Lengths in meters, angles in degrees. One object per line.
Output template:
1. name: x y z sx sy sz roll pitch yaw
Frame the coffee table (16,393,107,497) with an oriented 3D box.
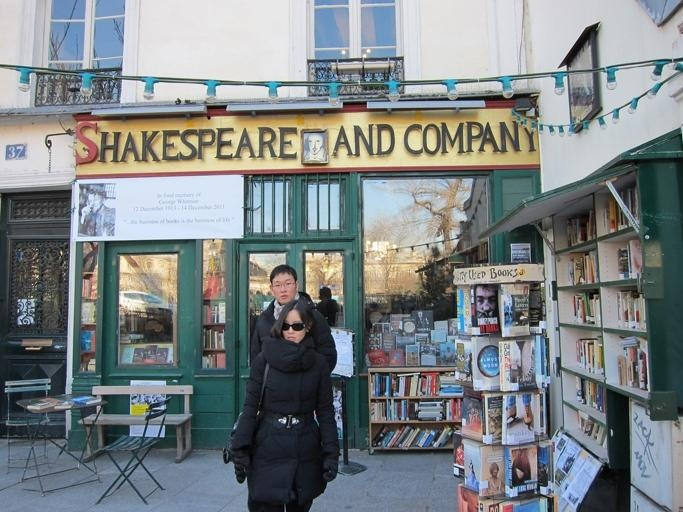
1. coffee table: -3.585 2.268 8.775 0.939 1.147 0.780 -2 8 33

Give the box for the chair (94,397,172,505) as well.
1. chair: -2.493 2.197 8.595 0.808 1.122 1.659 -2 7 -15

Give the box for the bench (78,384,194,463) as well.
1. bench: -2.651 2.143 9.190 1.310 0.906 0.734 -1 -6 -3

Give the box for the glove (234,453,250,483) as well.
1. glove: -0.865 1.871 6.197 0.143 0.259 0.099 8 30 20
